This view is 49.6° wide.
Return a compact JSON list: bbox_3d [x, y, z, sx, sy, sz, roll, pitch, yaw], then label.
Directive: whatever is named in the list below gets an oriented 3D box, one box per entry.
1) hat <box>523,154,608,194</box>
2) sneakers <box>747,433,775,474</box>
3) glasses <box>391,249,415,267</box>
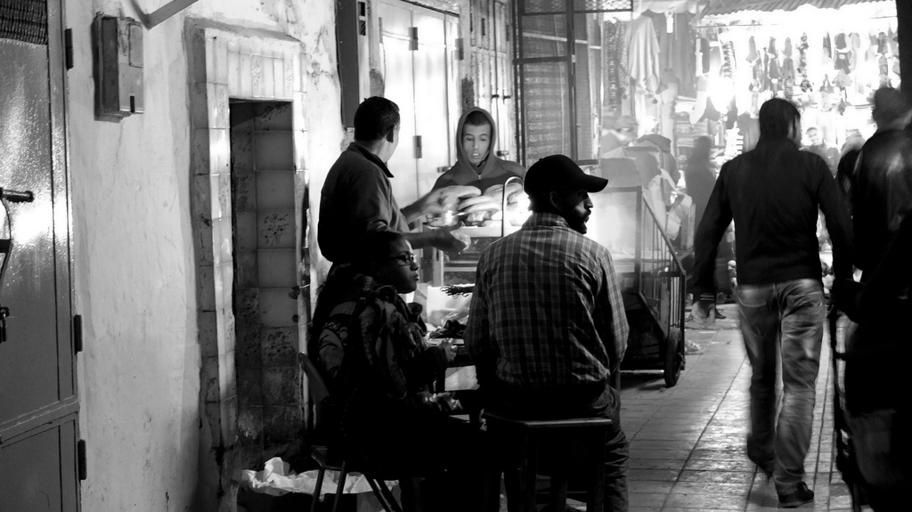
[{"bbox_3d":[0.783,-0.576,7.082,0.464,0.230,0.295,-14,3,0],"label":"hat"},{"bbox_3d":[2.764,1.777,9.018,0.251,0.330,0.299,14,13,31],"label":"sneakers"},{"bbox_3d":[-0.400,0.009,7.727,0.049,0.153,0.150,-8,-9,32],"label":"glasses"}]
